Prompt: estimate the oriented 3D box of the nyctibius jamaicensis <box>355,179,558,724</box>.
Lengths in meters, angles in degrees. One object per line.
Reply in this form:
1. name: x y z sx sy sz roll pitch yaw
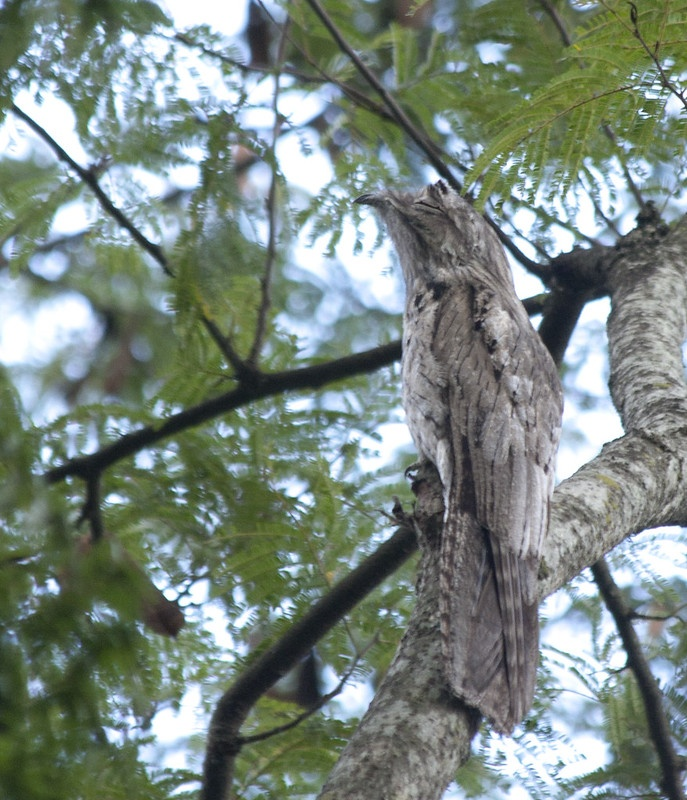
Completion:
1. nyctibius jamaicensis: 0.427 0.017 5.642 0.703 2.987 0.495 1 -51 7
